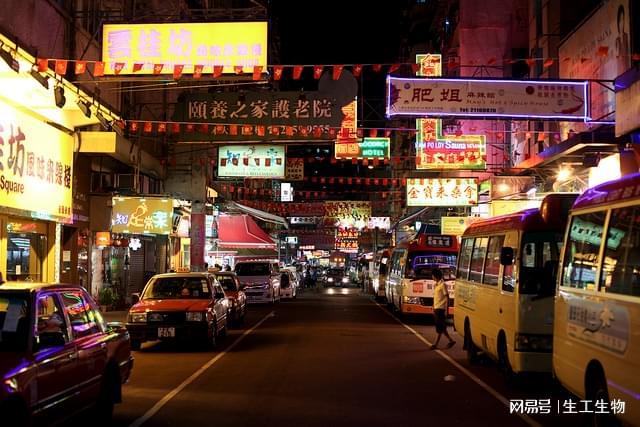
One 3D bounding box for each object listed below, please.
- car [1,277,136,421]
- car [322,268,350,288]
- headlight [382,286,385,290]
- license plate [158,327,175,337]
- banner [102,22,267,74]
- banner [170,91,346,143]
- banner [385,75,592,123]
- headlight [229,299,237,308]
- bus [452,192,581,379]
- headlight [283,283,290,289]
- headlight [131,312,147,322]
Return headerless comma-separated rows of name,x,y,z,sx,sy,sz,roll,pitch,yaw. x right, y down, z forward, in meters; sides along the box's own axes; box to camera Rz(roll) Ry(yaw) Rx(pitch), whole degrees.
car,-4.254,2.358,10.208,0.920,2.372,2.748,0,-2,15
car,1.557,6.418,61.751,2.084,1.894,3.410,1,-3,-25
headlight,3.626,4.353,36.549,0.132,0.191,0.192,2,-11,2
license plate,-4.113,3.190,16.797,0.424,0.247,0.082,1,-2,-12
banner,-4.330,-5.313,19.933,5.124,1.762,0.514,-5,37,-15
banner,-2.398,-3.852,24.929,6.306,1.929,0.512,0,-2,8
banner,5.719,-3.890,21.512,6.907,1.734,0.990,2,-11,3
headlight,-3.048,3.151,21.892,0.252,0.272,0.157,1,-2,-24
bus,4.258,1.728,13.769,2.097,2.711,4.736,0,-5,-5
headlight,-1.967,4.333,36.867,0.221,0.429,0.240,5,-4,12
headlight,-4.860,2.802,16.879,0.456,0.252,0.070,0,-2,12
